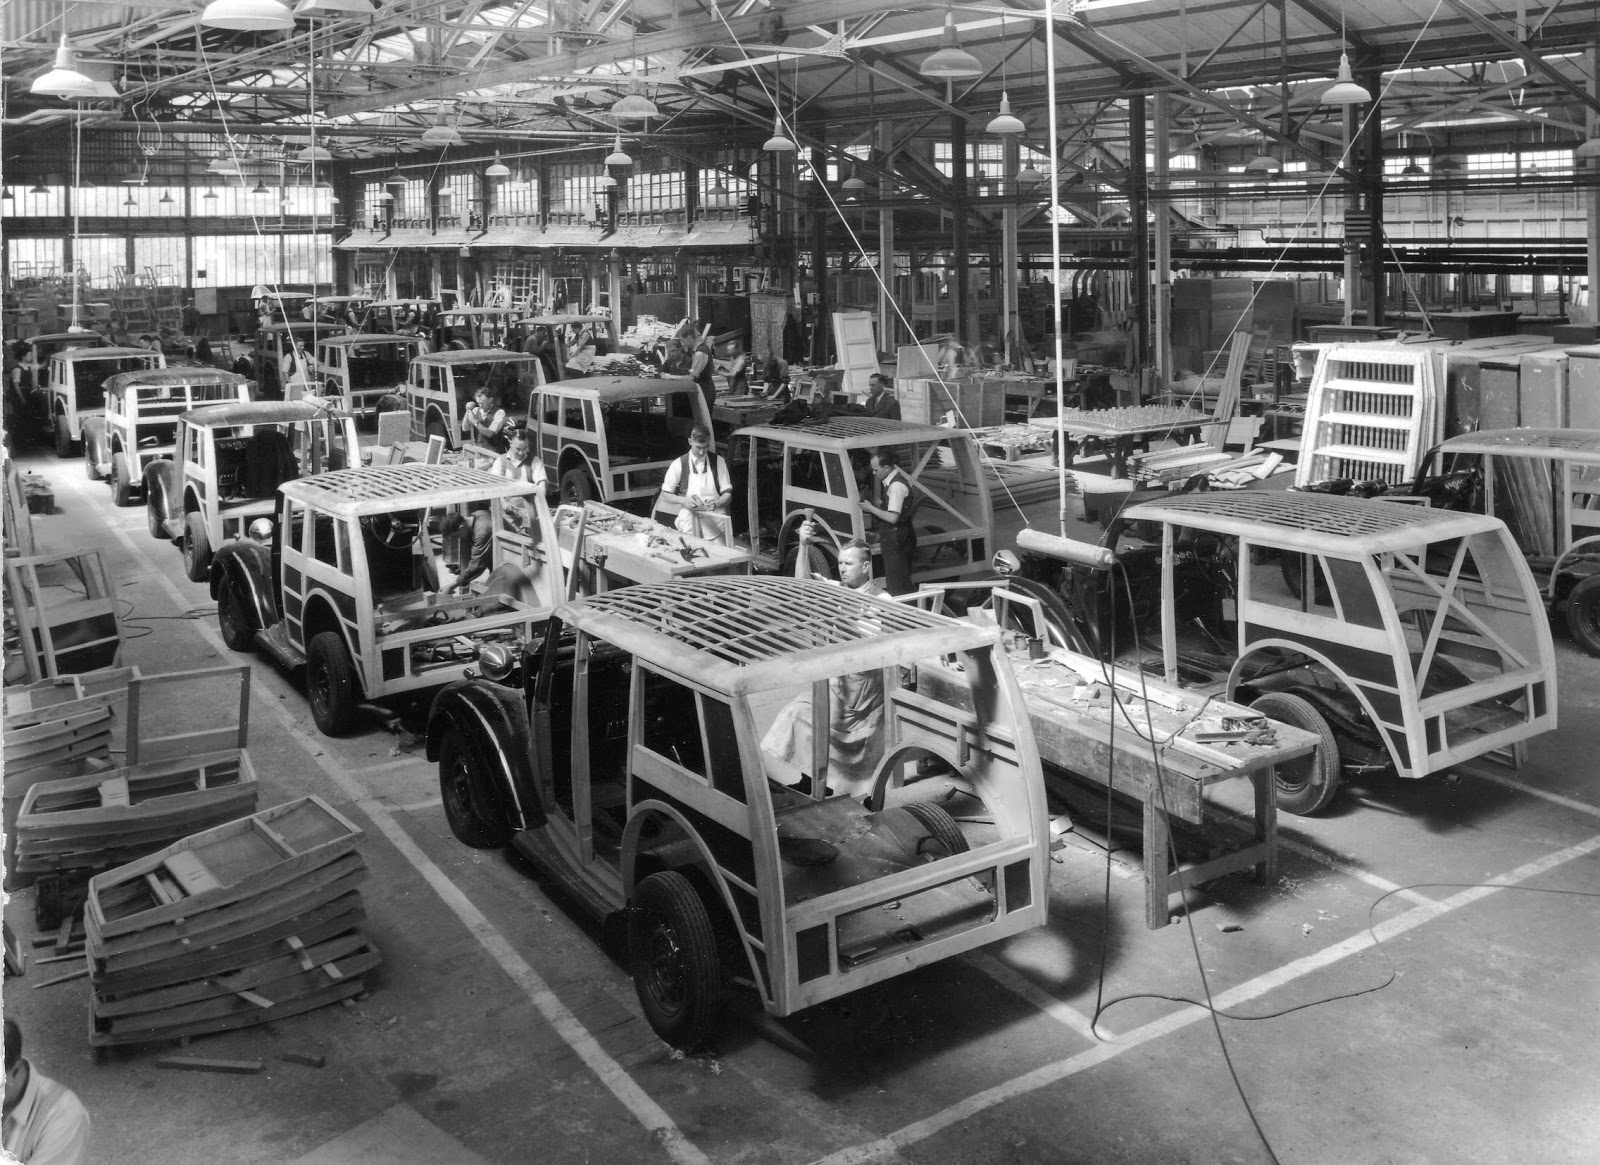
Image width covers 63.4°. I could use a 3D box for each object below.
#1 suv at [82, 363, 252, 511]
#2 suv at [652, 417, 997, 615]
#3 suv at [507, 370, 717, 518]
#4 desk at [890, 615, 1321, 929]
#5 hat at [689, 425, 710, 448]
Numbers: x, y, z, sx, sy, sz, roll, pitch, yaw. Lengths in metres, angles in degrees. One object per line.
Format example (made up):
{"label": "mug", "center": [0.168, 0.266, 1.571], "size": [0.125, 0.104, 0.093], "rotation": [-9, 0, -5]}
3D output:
{"label": "suv", "center": [-11.220, -2.363, 22.890], "size": [2.487, 2.313, 4.390], "rotation": [-4, 18, -26]}
{"label": "suv", "center": [0.691, -1.273, 16.539], "size": [2.293, 2.001, 3.456], "rotation": [-7, 16, -32]}
{"label": "suv", "center": [-3.069, -2.287, 20.417], "size": [1.724, 1.875, 2.877], "rotation": [-9, 21, -30]}
{"label": "desk", "center": [2.592, 1.590, 10.492], "size": [1.061, 1.224, 3.699], "rotation": [-8, 8, -16]}
{"label": "hat", "center": [-1.279, -1.816, 16.227], "size": [0.278, 0.274, 0.297], "rotation": [1, 8, -2]}
